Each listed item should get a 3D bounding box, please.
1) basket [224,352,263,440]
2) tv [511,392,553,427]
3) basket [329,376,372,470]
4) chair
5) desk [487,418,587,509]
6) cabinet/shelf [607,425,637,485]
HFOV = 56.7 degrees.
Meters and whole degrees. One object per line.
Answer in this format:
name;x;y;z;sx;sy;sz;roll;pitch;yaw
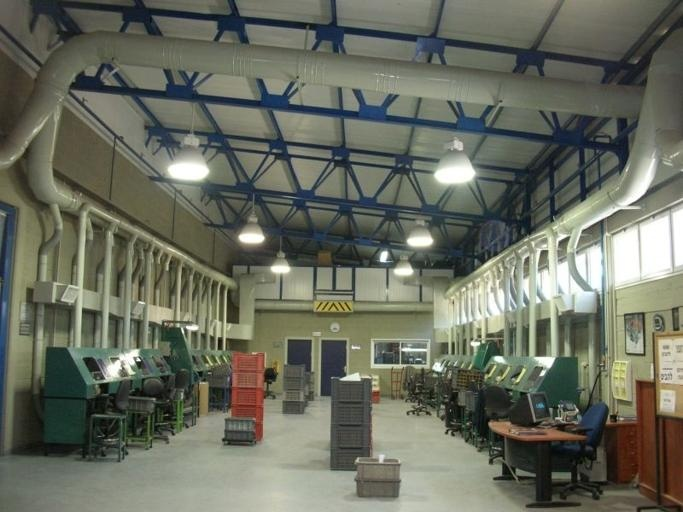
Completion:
basket;-2.005;2.980;13.451;0.673;1.855;0.322;-2;-13;5
tv;3.201;2.473;10.677;0.490;0.606;0.677;-7;-13;37
basket;0.166;2.935;11.059;0.530;1.231;1.379;0;-8;2
chair;3.946;3.217;10.334;0.869;1.656;1.039;1;-12;2
desk;3.048;3.411;9.891;0.845;0.905;1.754;1;-9;3
cabinet/shelf;4.691;3.290;10.614;0.507;0.974;0.291;-5;-14;19
